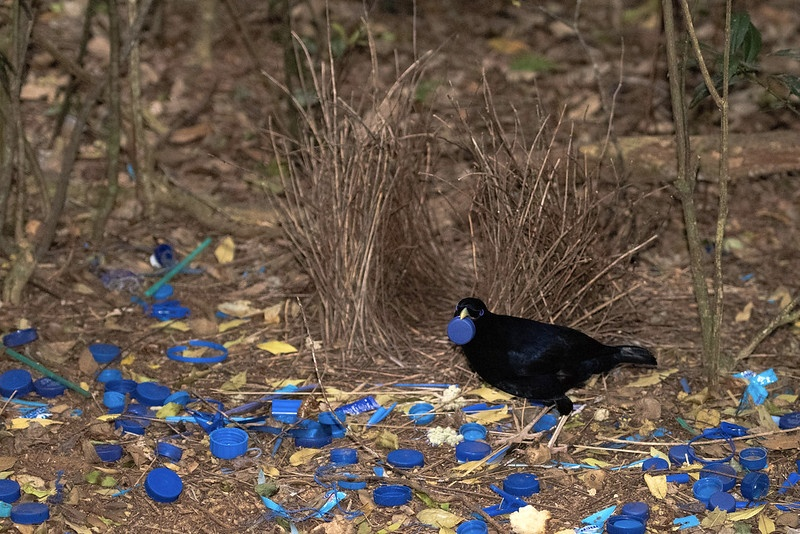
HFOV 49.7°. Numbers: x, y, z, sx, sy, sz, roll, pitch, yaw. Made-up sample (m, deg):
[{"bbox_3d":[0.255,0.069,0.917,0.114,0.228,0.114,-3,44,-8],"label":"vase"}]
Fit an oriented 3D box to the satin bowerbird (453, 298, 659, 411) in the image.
[{"bbox_3d":[0.753,0.427,4.529,1.263,0.670,0.405,-8,16,-25],"label":"satin bowerbird"}]
